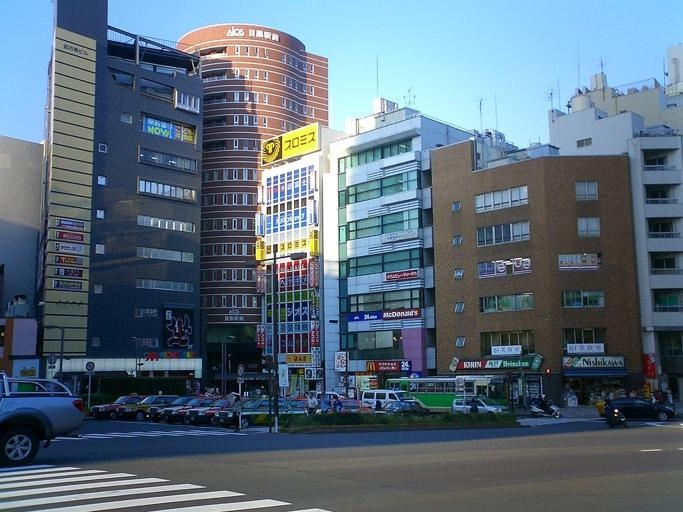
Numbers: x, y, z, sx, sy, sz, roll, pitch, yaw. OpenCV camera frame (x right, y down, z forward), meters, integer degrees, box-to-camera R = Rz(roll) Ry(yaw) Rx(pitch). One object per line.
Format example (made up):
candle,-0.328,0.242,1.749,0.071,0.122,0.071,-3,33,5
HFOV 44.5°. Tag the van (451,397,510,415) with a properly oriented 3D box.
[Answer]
van,10.238,11.089,62.653,3.820,1.478,7.219,-4,-14,7

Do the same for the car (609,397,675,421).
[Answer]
car,21.171,10.846,59.148,4.378,1.797,2.141,-3,-5,2

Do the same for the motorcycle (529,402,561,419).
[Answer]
motorcycle,15.625,11.777,64.102,2.118,1.243,1.068,-1,-7,-3

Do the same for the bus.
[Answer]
bus,9.015,11.899,70.258,10.209,3.043,3.371,-5,-7,25
